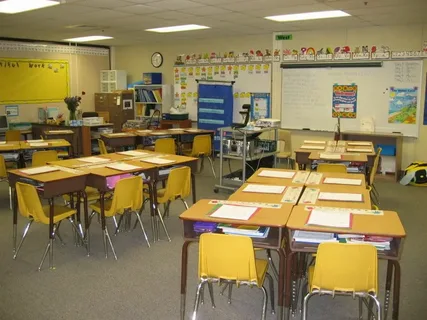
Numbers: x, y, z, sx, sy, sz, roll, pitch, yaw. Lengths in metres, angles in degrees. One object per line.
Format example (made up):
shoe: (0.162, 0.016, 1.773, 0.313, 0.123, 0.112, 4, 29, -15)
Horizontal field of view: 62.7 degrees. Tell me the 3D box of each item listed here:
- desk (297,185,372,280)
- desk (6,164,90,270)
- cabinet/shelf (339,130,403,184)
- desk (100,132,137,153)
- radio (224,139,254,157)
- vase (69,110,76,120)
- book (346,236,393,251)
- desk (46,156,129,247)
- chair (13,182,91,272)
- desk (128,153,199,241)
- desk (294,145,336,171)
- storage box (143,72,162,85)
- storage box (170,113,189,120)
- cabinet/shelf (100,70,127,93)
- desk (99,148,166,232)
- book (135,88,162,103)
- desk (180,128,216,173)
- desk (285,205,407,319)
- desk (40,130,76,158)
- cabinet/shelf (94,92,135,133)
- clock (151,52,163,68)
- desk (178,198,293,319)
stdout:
desk: (1.169, 0.861, 3.594, 0.728, 0.255, 1.144, 3, 11, 17)
desk: (-2.088, 0.753, 4.471, 0.898, 1.387, 1.019, 10, 14, 31)
cabinet/shelf: (3.074, -0.042, 6.691, 1.123, 0.929, 0.428, 4, 8, 30)
desk: (-1.945, -0.405, 7.413, 0.641, 0.244, 0.633, -3, 10, -28)
radio: (0.454, -0.229, 6.681, 0.600, 0.316, 0.345, 2, 14, 8)
vase: (-3.554, -1.148, 8.823, 0.116, 0.236, 0.208, -4, 14, -14)
book: (1.252, 0.640, 2.747, 0.189, 0.056, 0.191, 0, 2, 42)
desk: (-1.604, 0.560, 4.747, 1.028, 0.934, 1.270, -4, 9, -34)
chair: (-2.240, 0.671, 4.467, 1.057, 1.021, 0.755, 7, 15, 26)
desk: (-0.856, 0.517, 5.330, 0.838, 1.042, 1.077, 5, 8, 28)
desk: (1.647, -0.041, 6.170, 0.393, 0.482, 0.527, 2, 13, 14)
storage box: (-1.916, -2.509, 10.952, 0.467, 0.344, 0.469, -7, 11, -41)
storage box: (-1.006, -1.287, 10.357, 0.489, 0.200, 0.275, -3, 14, -14)
cabinet/shelf: (-3.306, -2.578, 11.469, 0.855, 0.697, 0.578, -2, 14, -6)
desk: (-1.326, 0.491, 5.009, 1.129, 0.856, 0.908, 4, 2, -8)
book: (-1.998, -1.947, 10.839, 0.654, 0.217, 0.531, 6, 9, 36)
desk: (-0.359, -0.136, 7.937, 0.581, 0.861, 0.606, -8, 10, -38)
desk: (1.103, 0.769, 3.156, 1.094, 0.997, 0.984, 2, 13, 11)
desk: (-3.570, -0.306, 8.024, 0.670, 0.568, 0.599, -2, 4, -26)
cabinet/shelf: (-2.942, -1.427, 10.563, 1.510, 1.515, 0.545, 5, 8, 36)
clock: (-1.783, -3.160, 11.064, 0.474, 0.483, 0.098, 11, 18, 37)
desk: (0.221, 0.807, 3.413, 1.043, 1.001, 1.061, 3, 9, 11)
